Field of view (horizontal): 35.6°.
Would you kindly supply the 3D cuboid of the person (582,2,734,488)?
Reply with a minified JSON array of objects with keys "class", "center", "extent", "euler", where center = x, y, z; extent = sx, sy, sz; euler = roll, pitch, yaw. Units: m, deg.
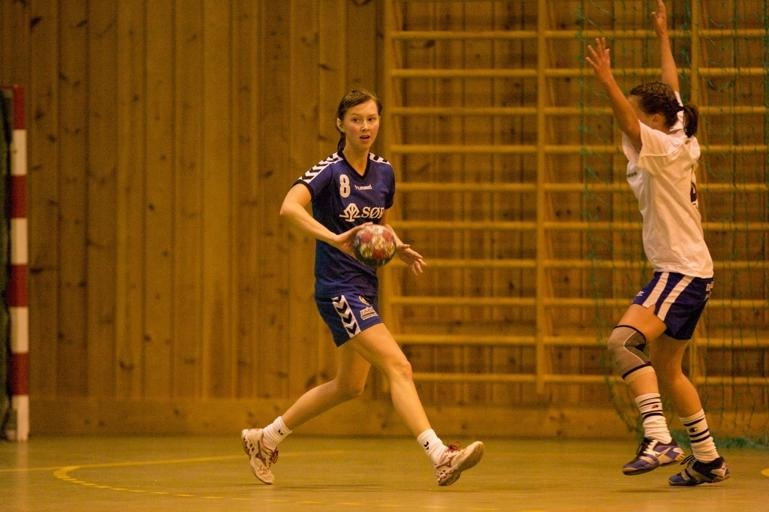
[{"class":"person","center":[1.618,0.041,7.086],"extent":[0.833,2.871,0.322],"euler":[-7,-1,-30]}]

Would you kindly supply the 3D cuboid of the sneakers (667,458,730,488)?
[{"class":"sneakers","center":[1.875,1.284,7.073],"extent":[0.389,0.177,0.152],"euler":[-5,-9,7]}]

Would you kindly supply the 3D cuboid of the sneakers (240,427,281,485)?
[{"class":"sneakers","center":[-0.761,1.204,7.317],"extent":[0.203,0.394,0.146],"euler":[-17,-3,3]}]

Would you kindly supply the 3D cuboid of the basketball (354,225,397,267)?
[{"class":"basketball","center":[-0.038,-0.063,6.860],"extent":[0.288,0.240,0.114],"euler":[-7,-1,-37]}]

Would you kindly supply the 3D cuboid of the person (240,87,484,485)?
[{"class":"person","center":[-0.209,0.217,7.097],"extent":[1.320,2.272,0.662],"euler":[-7,-1,3]}]

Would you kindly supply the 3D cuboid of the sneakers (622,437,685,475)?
[{"class":"sneakers","center":[1.539,1.140,6.915],"extent":[0.399,0.180,0.120],"euler":[-11,-3,-19]}]

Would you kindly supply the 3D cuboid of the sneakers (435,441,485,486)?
[{"class":"sneakers","center":[0.413,1.157,6.847],"extent":[0.140,0.187,0.378],"euler":[2,-35,-39]}]
